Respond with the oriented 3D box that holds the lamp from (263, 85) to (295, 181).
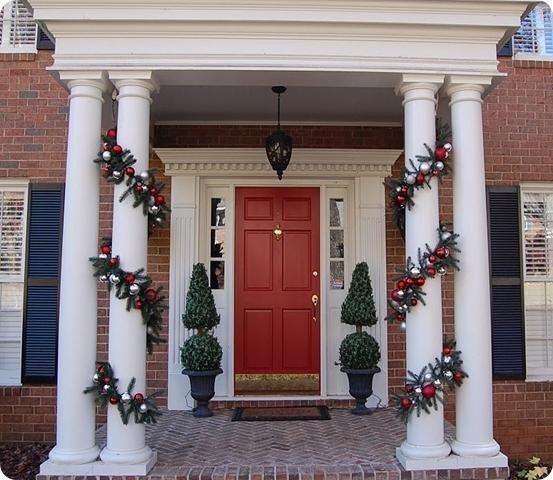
[{"bbox_3d":[0.036,-1.133,7.234,0.284,0.940,0.931,-1,-4,2],"label":"lamp"}]
